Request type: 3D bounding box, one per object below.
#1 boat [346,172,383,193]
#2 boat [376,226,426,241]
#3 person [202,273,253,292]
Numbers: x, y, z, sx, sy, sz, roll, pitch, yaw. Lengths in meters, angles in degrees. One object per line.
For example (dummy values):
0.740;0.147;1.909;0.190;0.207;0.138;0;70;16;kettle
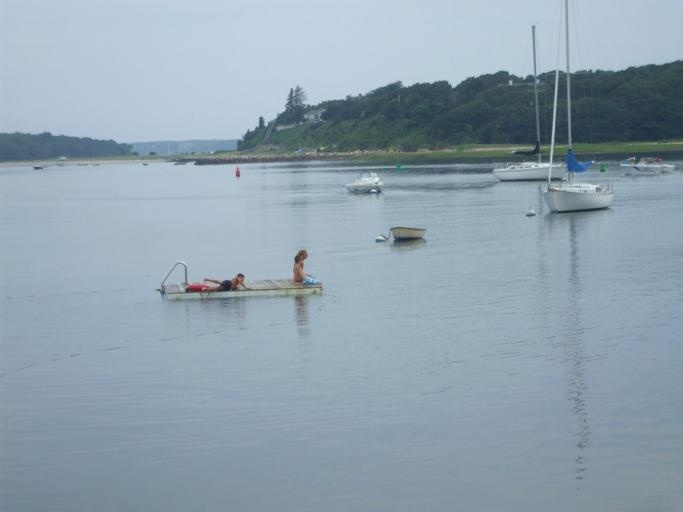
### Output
2.674;-7.604;104.398;2.213;1.812;4.315;0;1;4;boat
3.357;-1.272;59.222;3.068;0.887;2.196;0;4;43;boat
-4.820;1.243;43.996;1.310;0.555;1.009;-4;8;-8;person
